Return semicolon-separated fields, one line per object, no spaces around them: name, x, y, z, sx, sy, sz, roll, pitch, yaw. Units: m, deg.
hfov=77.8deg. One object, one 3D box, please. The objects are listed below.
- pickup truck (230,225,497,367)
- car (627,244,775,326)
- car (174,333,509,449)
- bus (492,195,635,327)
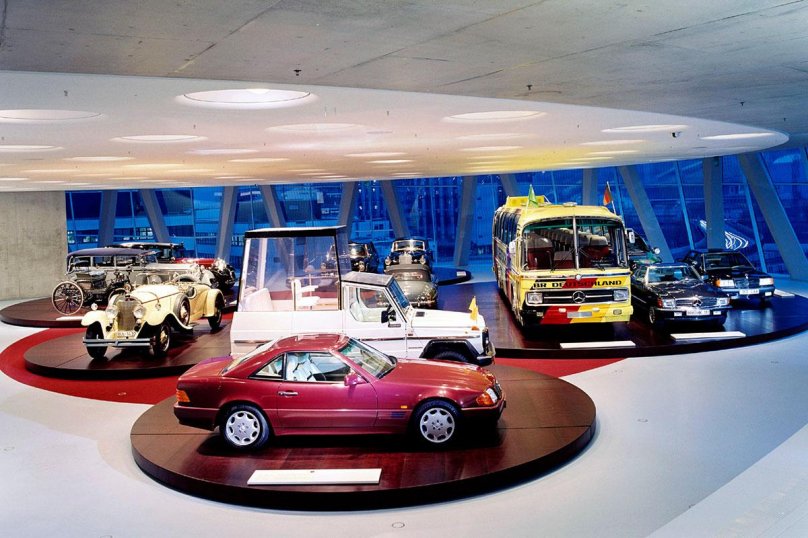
pickup truck;-0.670;0.375;10.431;5.311;2.306;2.701;-1;6;0
car;7.985;0.490;14.497;2.739;0.996;3.917;-1;3;-4
car;-0.848;1.800;7.866;4.887;1.076;1.968;-2;1;6
bus;4.863;-0.613;16.829;3.195;2.957;8.816;-1;8;7
